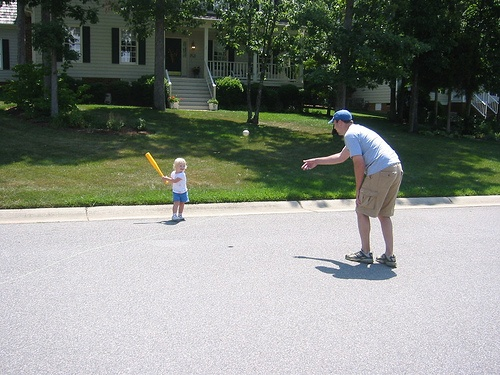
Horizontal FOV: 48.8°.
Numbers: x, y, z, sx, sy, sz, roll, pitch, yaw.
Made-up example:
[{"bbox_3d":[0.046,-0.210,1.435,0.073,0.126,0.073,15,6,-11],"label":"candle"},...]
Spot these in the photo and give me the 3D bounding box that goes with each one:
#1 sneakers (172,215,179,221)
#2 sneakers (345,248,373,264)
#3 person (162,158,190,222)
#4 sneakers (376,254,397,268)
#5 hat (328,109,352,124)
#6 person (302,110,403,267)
[{"bbox_3d":[-1.528,0.632,11.209,0.095,0.074,0.169,-2,-4,-17],"label":"sneakers"},{"bbox_3d":[1.830,1.143,9.196,0.492,0.232,0.186,5,-1,9],"label":"sneakers"},{"bbox_3d":[-1.576,-0.007,11.621,0.485,1.220,1.254,-1,8,-7],"label":"person"},{"bbox_3d":[2.232,1.181,8.990,0.130,0.162,0.350,-7,15,-33],"label":"sneakers"},{"bbox_3d":[1.493,-1.193,9.162,0.358,0.205,0.254,4,18,26],"label":"hat"},{"bbox_3d":[1.879,-0.014,9.182,1.235,2.493,0.814,3,8,15],"label":"person"}]
